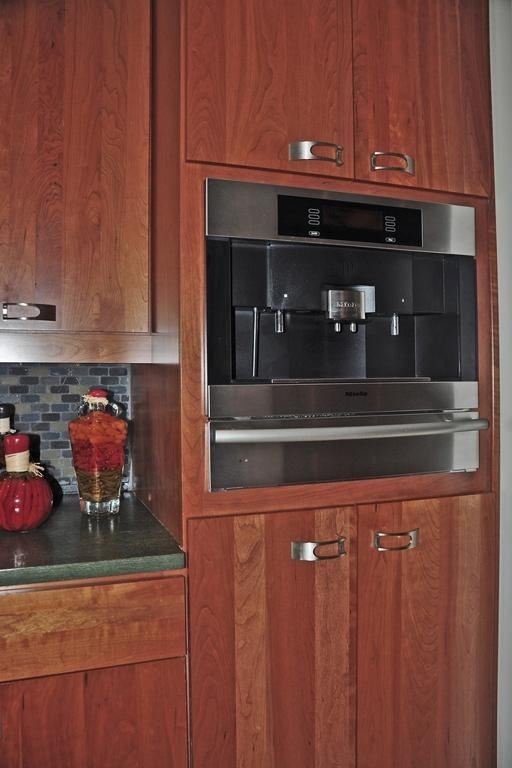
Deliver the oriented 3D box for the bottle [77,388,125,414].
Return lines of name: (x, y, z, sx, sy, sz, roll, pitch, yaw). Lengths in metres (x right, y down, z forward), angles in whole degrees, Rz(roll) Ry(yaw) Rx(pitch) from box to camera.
bottle: (-0.367, 0.045, 1.567, 0.086, 0.052, 0.066, 2, -3, 1)

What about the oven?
oven: (0.171, -0.084, 1.359, 0.507, 0.564, 0.277, 0, 0, -3)

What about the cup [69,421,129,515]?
cup: (-0.342, 0.175, 1.483, 0.129, 0.227, 0.104, -1, 1, -39)
